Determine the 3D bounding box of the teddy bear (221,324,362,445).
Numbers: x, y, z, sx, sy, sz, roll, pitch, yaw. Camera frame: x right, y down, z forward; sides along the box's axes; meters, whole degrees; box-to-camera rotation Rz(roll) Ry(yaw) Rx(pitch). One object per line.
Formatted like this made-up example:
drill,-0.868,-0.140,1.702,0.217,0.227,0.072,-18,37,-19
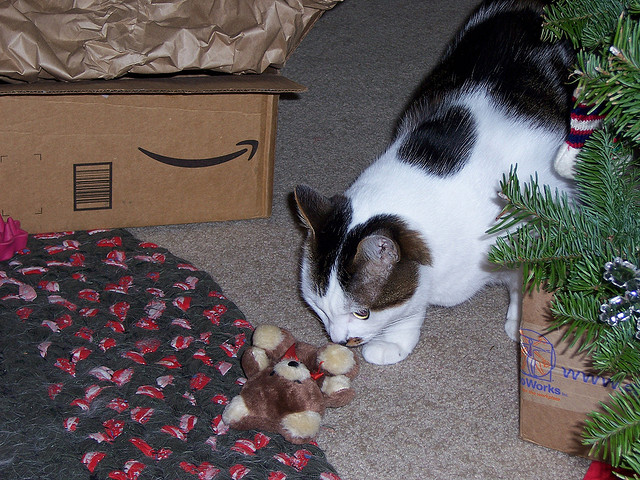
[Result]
teddy bear,-0.056,0.312,1.438,0.320,0.104,0.310,-6,44,-2

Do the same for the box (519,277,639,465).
box,0.487,0.235,1.197,0.210,0.352,0.263,13,52,20

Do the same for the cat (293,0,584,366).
cat,0.320,-0.103,1.575,0.555,0.699,0.804,34,50,22
